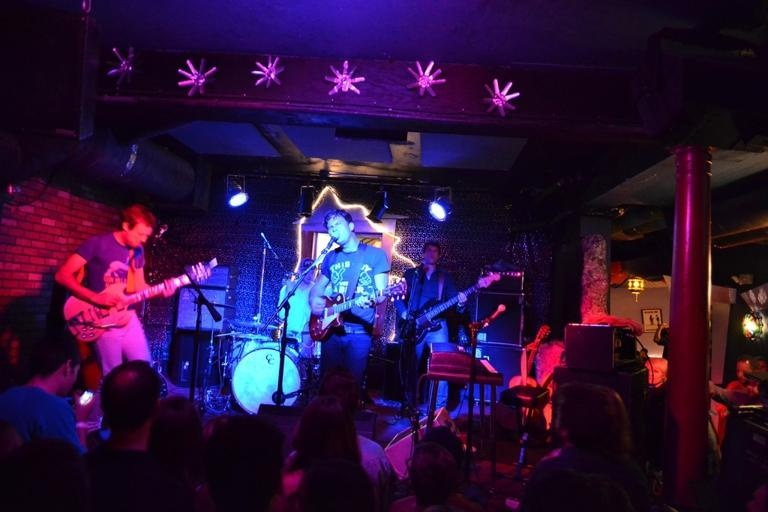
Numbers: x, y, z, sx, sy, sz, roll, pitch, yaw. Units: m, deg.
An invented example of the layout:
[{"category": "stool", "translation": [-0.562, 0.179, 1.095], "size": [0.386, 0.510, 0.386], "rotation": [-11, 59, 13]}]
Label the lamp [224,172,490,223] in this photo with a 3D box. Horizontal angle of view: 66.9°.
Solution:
[{"category": "lamp", "translation": [-0.463, -0.827, 8.503], "size": [4.010, 0.696, 0.706], "rotation": [5, -8, 4]}]

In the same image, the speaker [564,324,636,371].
[{"category": "speaker", "translation": [2.108, 0.876, 5.747], "size": [0.459, 0.427, 0.674], "rotation": [-3, -2, 33]}]

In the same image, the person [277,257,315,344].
[{"category": "person", "translation": [-1.224, 0.648, 7.768], "size": [0.558, 1.150, 0.263], "rotation": [21, 21, 35]}]

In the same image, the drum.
[{"category": "drum", "translation": [-1.600, 1.719, 7.224], "size": [0.672, 0.708, 0.685], "rotation": [-10, -43, 13]}]
